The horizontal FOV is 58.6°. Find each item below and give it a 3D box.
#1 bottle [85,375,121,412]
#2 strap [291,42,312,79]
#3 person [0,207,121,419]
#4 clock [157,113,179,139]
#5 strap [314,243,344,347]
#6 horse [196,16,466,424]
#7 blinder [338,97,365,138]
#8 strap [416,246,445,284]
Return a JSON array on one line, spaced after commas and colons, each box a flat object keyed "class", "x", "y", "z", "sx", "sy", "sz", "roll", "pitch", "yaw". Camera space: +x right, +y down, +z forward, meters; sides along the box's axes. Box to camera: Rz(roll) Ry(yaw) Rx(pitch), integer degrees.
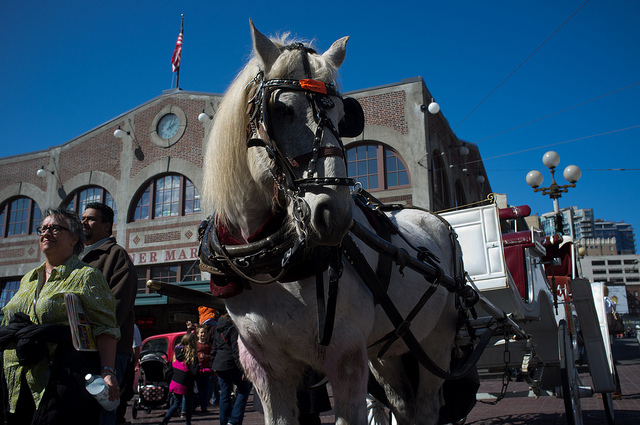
[{"class": "bottle", "x": -2.256, "y": 1.852, "z": 5.890, "sx": 0.263, "sy": 0.389, "sz": 0.297, "roll": -6, "pitch": -10, "yaw": 1}, {"class": "strap", "x": -0.143, "y": -1.458, "z": 5.558, "sx": 0.076, "sy": 0.396, "sz": 0.147, "roll": -1, "pitch": -11, "yaw": -23}, {"class": "person", "x": -2.833, "y": 1.058, "z": 6.179, "sx": 1.286, "sy": 2.345, "sz": 0.429, "roll": -7, "pitch": -10, "yaw": 8}, {"class": "clock", "x": -7.323, "y": -4.155, "z": 27.638, "sx": 1.161, "sy": 1.217, "sz": 0.160, "roll": -4, "pitch": -20, "yaw": 24}, {"class": "strap", "x": 0.123, "y": 0.706, "z": 5.450, "sx": 0.142, "sy": 1.058, "sz": 0.255, "roll": -3, "pitch": -19, "yaw": 17}, {"class": "horse", "x": 0.284, "y": 0.374, "z": 6.621, "sx": 2.192, "sy": 4.299, "sz": 3.329, "roll": -14, "pitch": -13, "yaw": 39}, {"class": "blinder", "x": 0.293, "y": -1.013, "z": 5.929, "sx": 0.302, "sy": 0.359, "sz": 0.403, "roll": -1, "pitch": -10, "yaw": 0}, {"class": "strap", "x": 1.183, "y": 0.526, "z": 6.132, "sx": 0.084, "sy": 0.275, "sz": 0.356, "roll": -18, "pitch": 21, "yaw": -16}]
